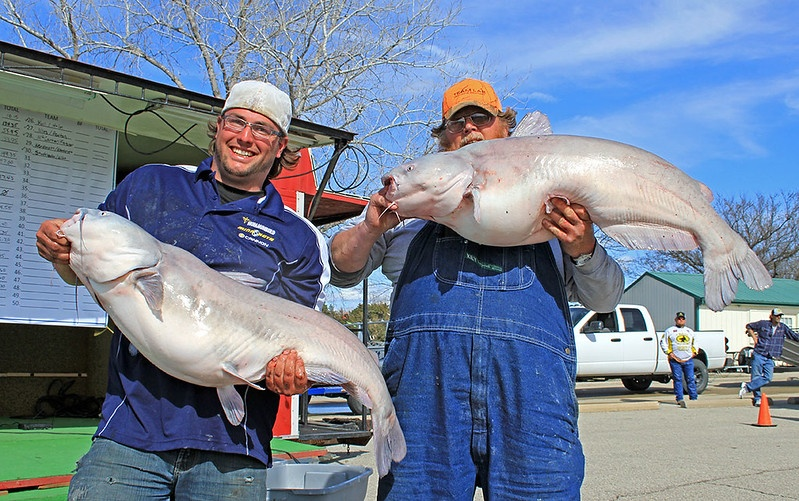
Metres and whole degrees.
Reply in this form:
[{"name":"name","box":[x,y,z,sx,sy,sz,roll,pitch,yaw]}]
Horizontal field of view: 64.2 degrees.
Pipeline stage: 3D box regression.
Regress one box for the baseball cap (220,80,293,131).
[{"name":"baseball cap","box":[-1.016,-1.070,4.642,0.456,0.306,0.495,12,-7,10]}]

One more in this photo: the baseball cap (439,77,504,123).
[{"name":"baseball cap","box":[0.555,-1.095,4.566,0.490,0.258,0.368,-4,3,7]}]

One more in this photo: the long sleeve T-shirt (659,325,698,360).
[{"name":"long sleeve T-shirt","box":[7.093,2.321,16.194,0.900,0.902,0.461,-1,0,0]}]

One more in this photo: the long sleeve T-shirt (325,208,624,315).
[{"name":"long sleeve T-shirt","box":[0.764,0.118,4.150,1.324,0.379,0.939,14,-14,-26]}]

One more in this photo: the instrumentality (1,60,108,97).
[{"name":"instrumentality","box":[-3.886,-1.950,7.095,1.131,0.250,0.220,1,24,-32]}]

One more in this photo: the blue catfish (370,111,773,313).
[{"name":"blue catfish","box":[1.096,-0.384,4.280,2.493,1.108,0.688,4,-11,25]}]
